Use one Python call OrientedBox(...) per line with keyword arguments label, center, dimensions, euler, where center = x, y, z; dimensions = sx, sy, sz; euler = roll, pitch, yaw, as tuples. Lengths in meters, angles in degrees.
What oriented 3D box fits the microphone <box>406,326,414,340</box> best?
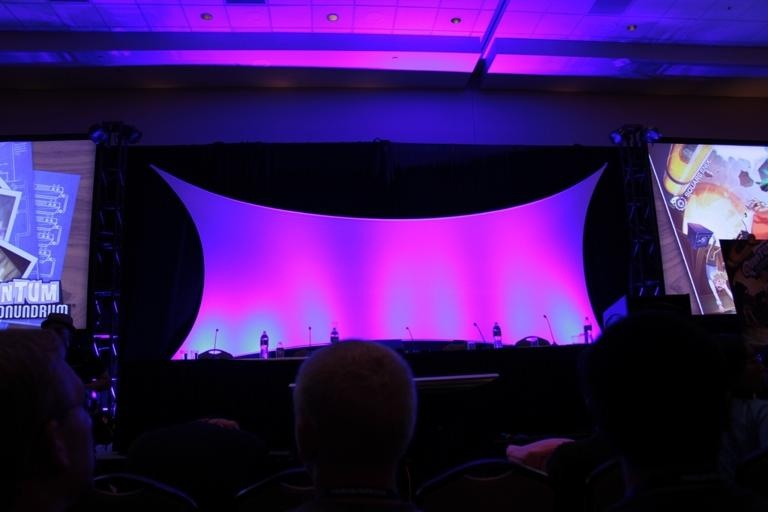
OrientedBox(label="microphone", center=(0.300, 0.915, 7.357), dimensions=(0.078, 0.142, 0.134), euler=(-8, -25, -11))
